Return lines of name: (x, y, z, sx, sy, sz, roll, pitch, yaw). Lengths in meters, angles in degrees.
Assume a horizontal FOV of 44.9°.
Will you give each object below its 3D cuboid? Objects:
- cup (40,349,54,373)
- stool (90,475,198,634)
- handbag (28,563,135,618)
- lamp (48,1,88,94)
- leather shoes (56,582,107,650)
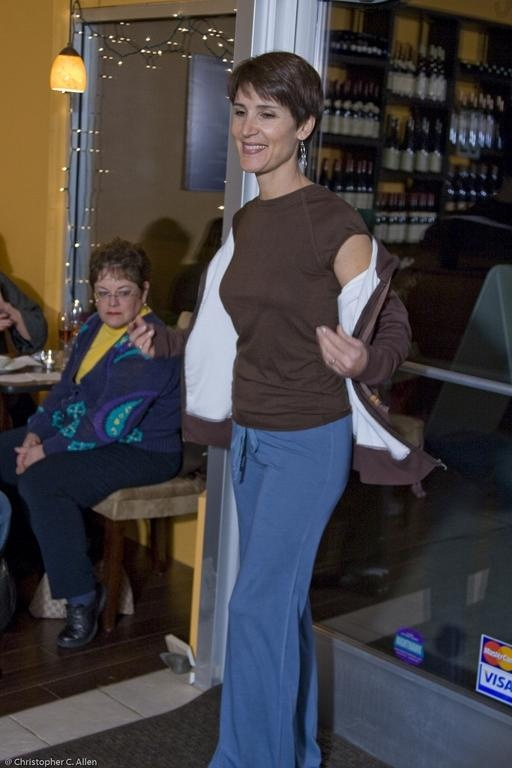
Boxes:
cup: (-0.974, -0.100, 2.854, 0.084, 0.091, 0.076, 0, 5, 0)
stool: (-0.482, 0.578, 2.668, 0.491, 0.618, 0.636, -5, 6, -30)
handbag: (-0.668, 0.826, 2.530, 0.489, 0.199, 0.164, 3, 6, -10)
lamp: (-1.079, -1.985, 3.607, 0.188, 0.547, 0.478, 1, 0, -16)
leather shoes: (-0.629, 0.844, 2.240, 0.095, 0.235, 0.109, 5, -7, 23)
